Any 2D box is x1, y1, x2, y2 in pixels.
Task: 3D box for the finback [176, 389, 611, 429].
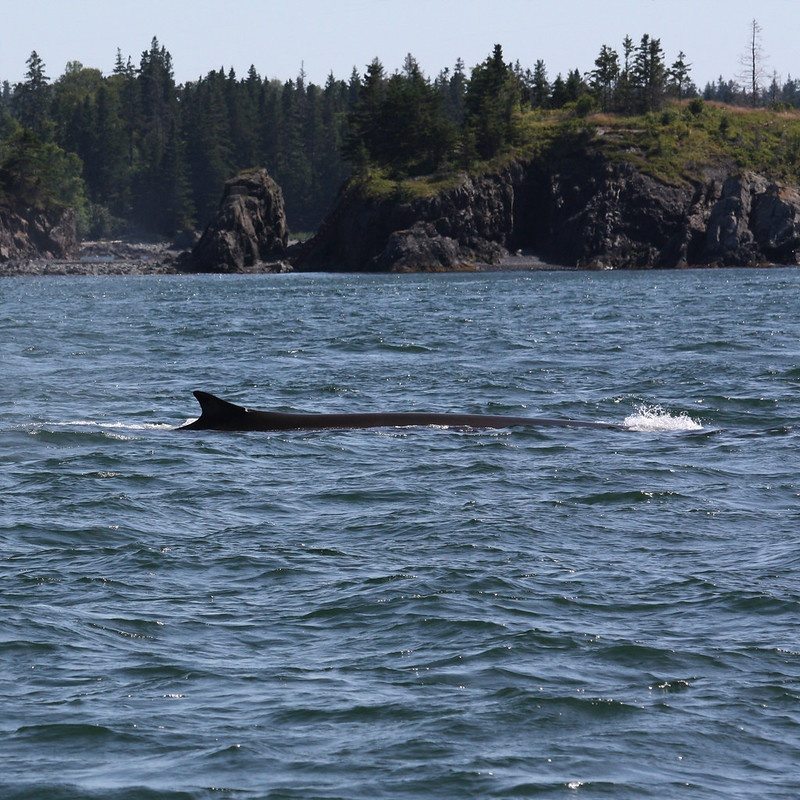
[{"bbox_3d":[-0.725,0.332,44.892,7.957,0.874,0.993,2,6,-1],"label":"finback"}]
